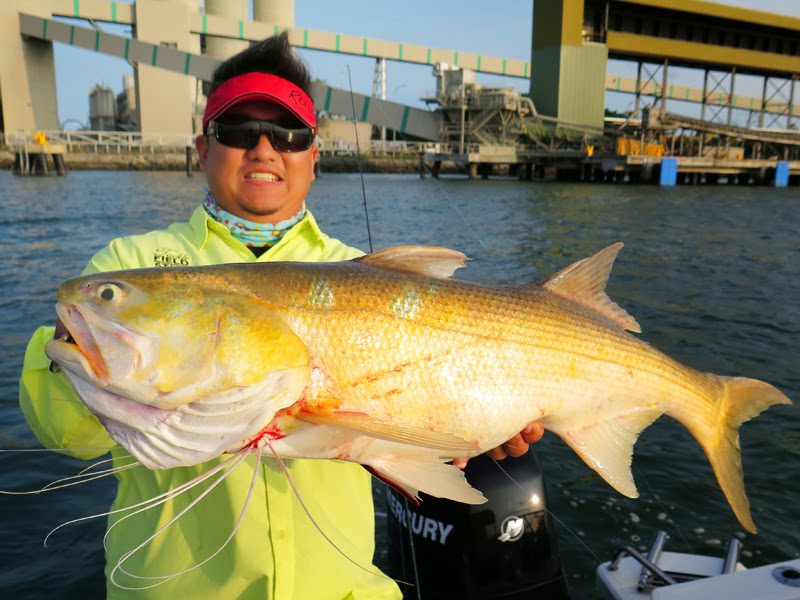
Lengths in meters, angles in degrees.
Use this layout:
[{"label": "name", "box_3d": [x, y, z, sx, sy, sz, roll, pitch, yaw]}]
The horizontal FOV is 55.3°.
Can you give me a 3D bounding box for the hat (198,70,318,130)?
[{"label": "hat", "box_3d": [-0.799, -1.140, 4.284, 0.598, 0.277, 0.573, 4, 17, -10]}]
